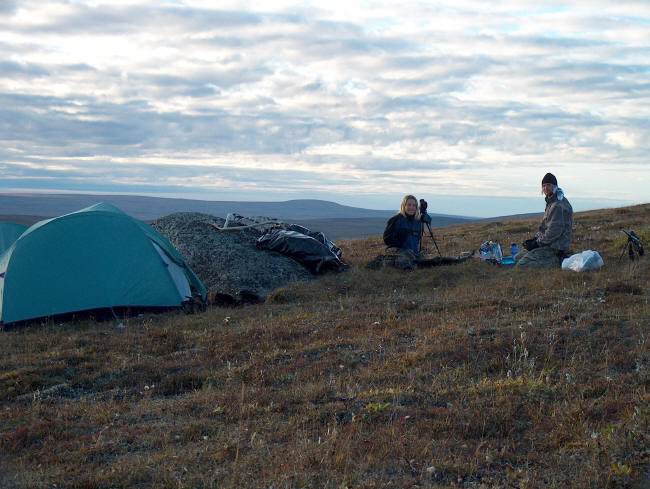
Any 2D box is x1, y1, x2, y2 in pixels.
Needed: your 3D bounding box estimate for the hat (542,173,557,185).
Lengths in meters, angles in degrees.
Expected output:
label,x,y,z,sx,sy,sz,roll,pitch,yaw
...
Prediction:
label,x,y,z,sx,sy,sz,roll,pitch,yaw
hat,6.429,-1.862,18.606,0.338,0.348,0.867,-3,3,18
